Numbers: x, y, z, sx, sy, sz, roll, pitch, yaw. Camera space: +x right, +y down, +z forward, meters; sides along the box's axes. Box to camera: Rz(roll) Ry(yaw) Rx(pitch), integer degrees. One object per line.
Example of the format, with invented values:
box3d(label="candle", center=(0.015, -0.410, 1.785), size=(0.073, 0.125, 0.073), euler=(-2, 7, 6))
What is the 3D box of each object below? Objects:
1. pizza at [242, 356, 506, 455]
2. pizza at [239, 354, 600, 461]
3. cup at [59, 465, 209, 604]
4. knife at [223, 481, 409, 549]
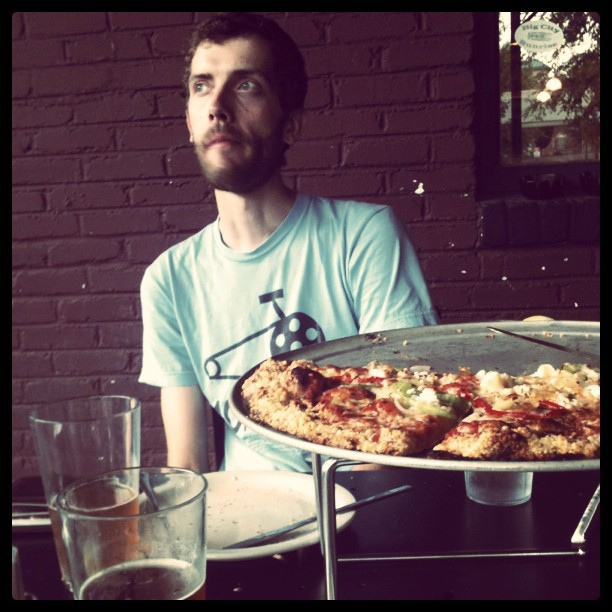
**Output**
box3d(label="pizza", center=(0.041, 0.077, 0.632), size=(0.205, 0.025, 0.197), euler=(6, 14, 33))
box3d(label="pizza", center=(0.089, 0.081, 0.607), size=(0.329, 0.026, 0.218), euler=(1, 12, 13))
box3d(label="cup", center=(-0.138, 0.185, 0.607), size=(0.112, 0.086, 0.127), euler=(-1, 0, 1))
box3d(label="knife", center=(0.007, 0.221, 0.735), size=(0.289, 0.014, 0.036), euler=(-14, -19, 14))
